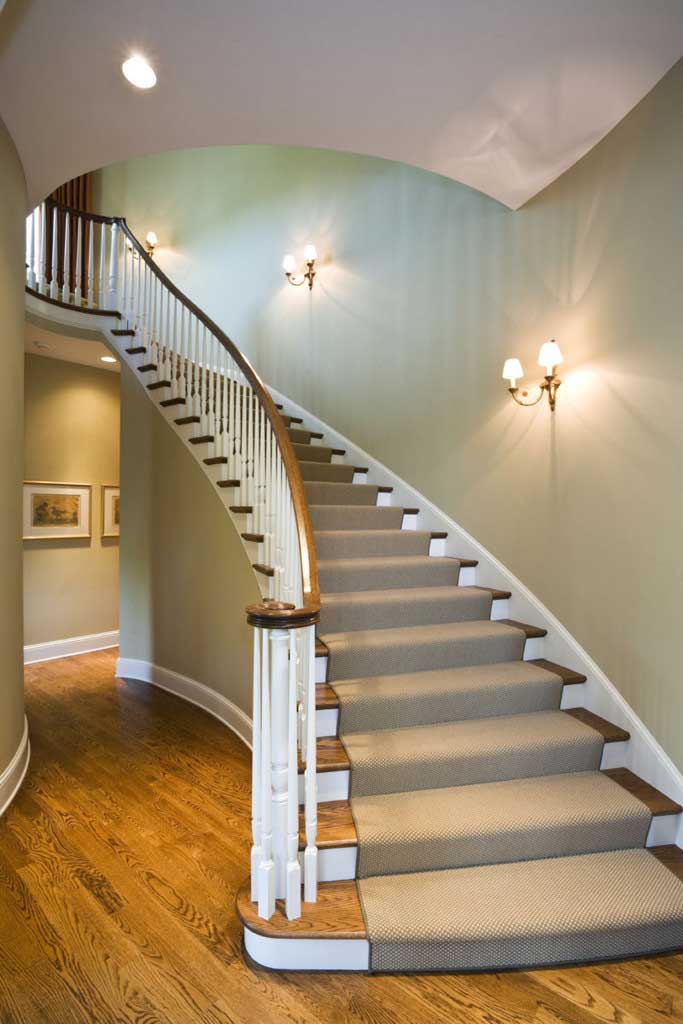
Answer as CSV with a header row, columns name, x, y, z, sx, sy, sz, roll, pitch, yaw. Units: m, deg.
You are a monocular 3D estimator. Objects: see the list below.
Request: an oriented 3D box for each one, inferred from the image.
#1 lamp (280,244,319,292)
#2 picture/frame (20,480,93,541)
name,x,y,z,sx,sy,sz,roll,pitch,yaw
lamp,-0.356,-1.867,5.887,0.236,0.341,0.504,-2,5,-34
picture/frame,-2.225,-0.020,5.926,0.017,0.365,0.439,0,-1,28
